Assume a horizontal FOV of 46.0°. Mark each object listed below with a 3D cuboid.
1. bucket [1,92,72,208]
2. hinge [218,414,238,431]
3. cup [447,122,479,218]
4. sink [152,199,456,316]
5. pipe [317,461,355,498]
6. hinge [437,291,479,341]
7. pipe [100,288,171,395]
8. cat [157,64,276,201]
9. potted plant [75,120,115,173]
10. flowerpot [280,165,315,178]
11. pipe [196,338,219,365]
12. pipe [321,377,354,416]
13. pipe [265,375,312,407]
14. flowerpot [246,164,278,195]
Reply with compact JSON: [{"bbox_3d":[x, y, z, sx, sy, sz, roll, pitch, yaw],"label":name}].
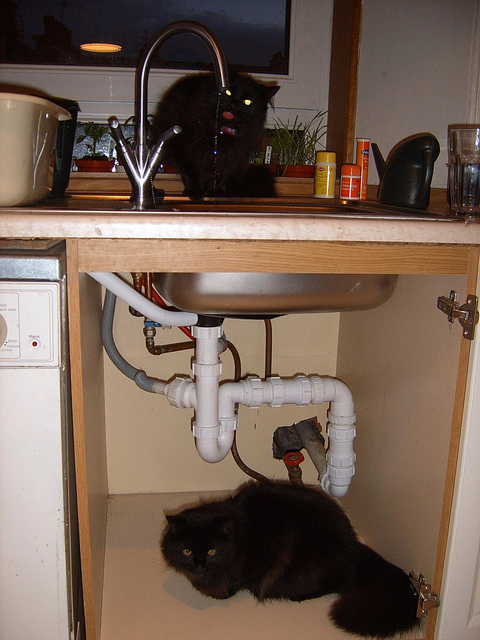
[{"bbox_3d":[-0.317,-0.258,0.888,0.074,0.162,0.238,0,10,-5],"label":"bucket"},{"bbox_3d":[-0.024,0.210,1.161,0.029,0.018,0.030,-1,3,3],"label":"hinge"},{"bbox_3d":[0.381,-0.255,0.976,0.061,0.147,0.041,9,13,41],"label":"cup"},{"bbox_3d":[0.069,-0.127,1.099,0.472,0.216,0.573,-1,10,-9],"label":"sink"},{"bbox_3d":[0.217,0.365,1.325,0.052,0.093,0.114,-2,10,-18],"label":"pipe"},{"bbox_3d":[0.341,-0.008,0.913,0.045,0.063,0.054,-2,19,-9],"label":"hinge"},{"bbox_3d":[-0.250,0.067,1.327,0.164,0.261,0.169,-3,19,-15],"label":"pipe"},{"bbox_3d":[-0.053,-0.489,1.477,0.322,0.345,0.231,-1,10,-8],"label":"cat"},{"bbox_3d":[-0.387,-0.465,1.495,0.095,0.162,0.247,-2,10,-16],"label":"potted plant"},{"bbox_3d":[0.153,-0.391,1.485,0.076,0.034,0.027,-1,10,-10],"label":"flowerpot"},{"bbox_3d":[-0.060,0.058,1.063,0.044,0.052,0.045,0,7,-1],"label":"pipe"},{"bbox_3d":[0.213,0.171,1.287,0.084,0.113,0.055,3,6,11],"label":"pipe"},{"bbox_3d":[0.099,0.150,1.193,0.091,0.048,0.054,0,8,-12],"label":"pipe"},{"bbox_3d":[0.053,-0.360,1.455,0.075,0.086,0.088,0,7,-4],"label":"flowerpot"}]
